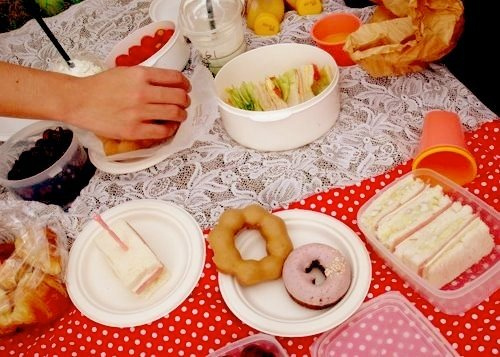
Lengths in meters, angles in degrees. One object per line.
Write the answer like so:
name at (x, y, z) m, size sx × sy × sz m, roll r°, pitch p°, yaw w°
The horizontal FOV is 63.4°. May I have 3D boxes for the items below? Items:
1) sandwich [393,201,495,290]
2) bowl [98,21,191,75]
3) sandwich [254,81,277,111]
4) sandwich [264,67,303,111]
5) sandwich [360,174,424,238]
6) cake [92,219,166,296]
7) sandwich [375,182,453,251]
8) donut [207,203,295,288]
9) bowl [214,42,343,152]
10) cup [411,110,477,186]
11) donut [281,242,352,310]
sandwich at (0.500, 0.181, 1.051) m, size 0.239 × 0.083 × 0.164 m, roll -39°, pitch 60°, yaw -8°
bowl at (-0.451, -0.508, 1.663) m, size 0.318 × 0.135 × 0.308 m, roll -9°, pitch 52°, yaw 12°
sandwich at (0.049, -0.274, 1.396) m, size 0.062 × 0.028 × 0.109 m, roll -19°, pitch 86°, yaw 12°
sandwich at (0.119, -0.307, 1.384) m, size 0.136 × 0.057 × 0.150 m, roll -18°, pitch 71°, yaw -8°
sandwich at (0.396, 0.062, 1.153) m, size 0.175 × 0.057 × 0.131 m, roll -44°, pitch 31°, yaw 0°
cake at (-0.370, 0.227, 1.211) m, size 0.138 × 0.071 × 0.231 m, roll -36°, pitch 53°, yaw -29°
sandwich at (0.443, 0.104, 1.136) m, size 0.123 × 0.058 × 0.238 m, roll 38°, pitch 77°, yaw 22°
donut at (0.002, 0.192, 1.161) m, size 0.233 × 0.088 × 0.217 m, roll -16°, pitch 59°, yaw 0°
bowl at (0.116, -0.193, 1.467) m, size 0.369 × 0.165 × 0.455 m, roll -14°, pitch 50°, yaw 1°
cup at (0.603, -0.129, 1.262) m, size 0.152 × 0.195 × 0.161 m, roll -8°, pitch 21°, yaw 3°
donut at (0.183, 0.269, 1.110) m, size 0.176 × 0.066 × 0.196 m, roll -8°, pitch 44°, yaw -8°
